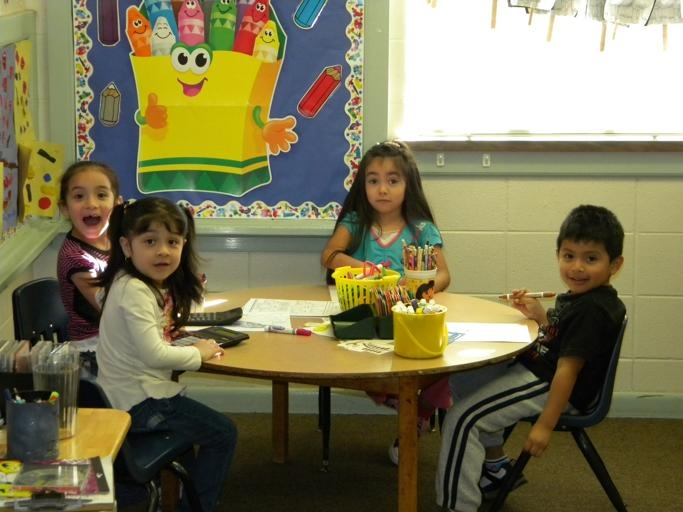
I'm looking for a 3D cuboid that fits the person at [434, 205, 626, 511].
[{"bbox_3d":[0.599,0.331,2.102,0.601,1.114,0.480,0,5,-8],"label":"person"}]

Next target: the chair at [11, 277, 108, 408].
[{"bbox_3d":[-0.866,0.348,1.930,0.328,0.482,0.311,0,18,-12],"label":"chair"}]

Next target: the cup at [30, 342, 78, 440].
[{"bbox_3d":[-0.634,0.299,1.288,0.082,0.204,0.103,1,15,-3],"label":"cup"}]

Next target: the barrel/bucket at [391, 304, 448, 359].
[{"bbox_3d":[0.221,0.201,1.652,0.156,0.134,0.151,0,15,0],"label":"barrel/bucket"}]

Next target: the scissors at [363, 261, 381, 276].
[{"bbox_3d":[0.101,0.044,1.978,0.040,0.050,0.054,1,-17,-6],"label":"scissors"}]

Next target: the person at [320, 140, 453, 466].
[{"bbox_3d":[0.096,0.164,2.635,0.601,1.312,0.584,3,12,-1],"label":"person"}]

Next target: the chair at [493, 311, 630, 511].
[{"bbox_3d":[0.675,0.459,2.030,0.418,0.651,0.401,0,4,-5],"label":"chair"}]

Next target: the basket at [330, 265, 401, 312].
[{"bbox_3d":[0.068,0.085,1.934,0.206,0.149,0.254,-1,12,0],"label":"basket"}]
